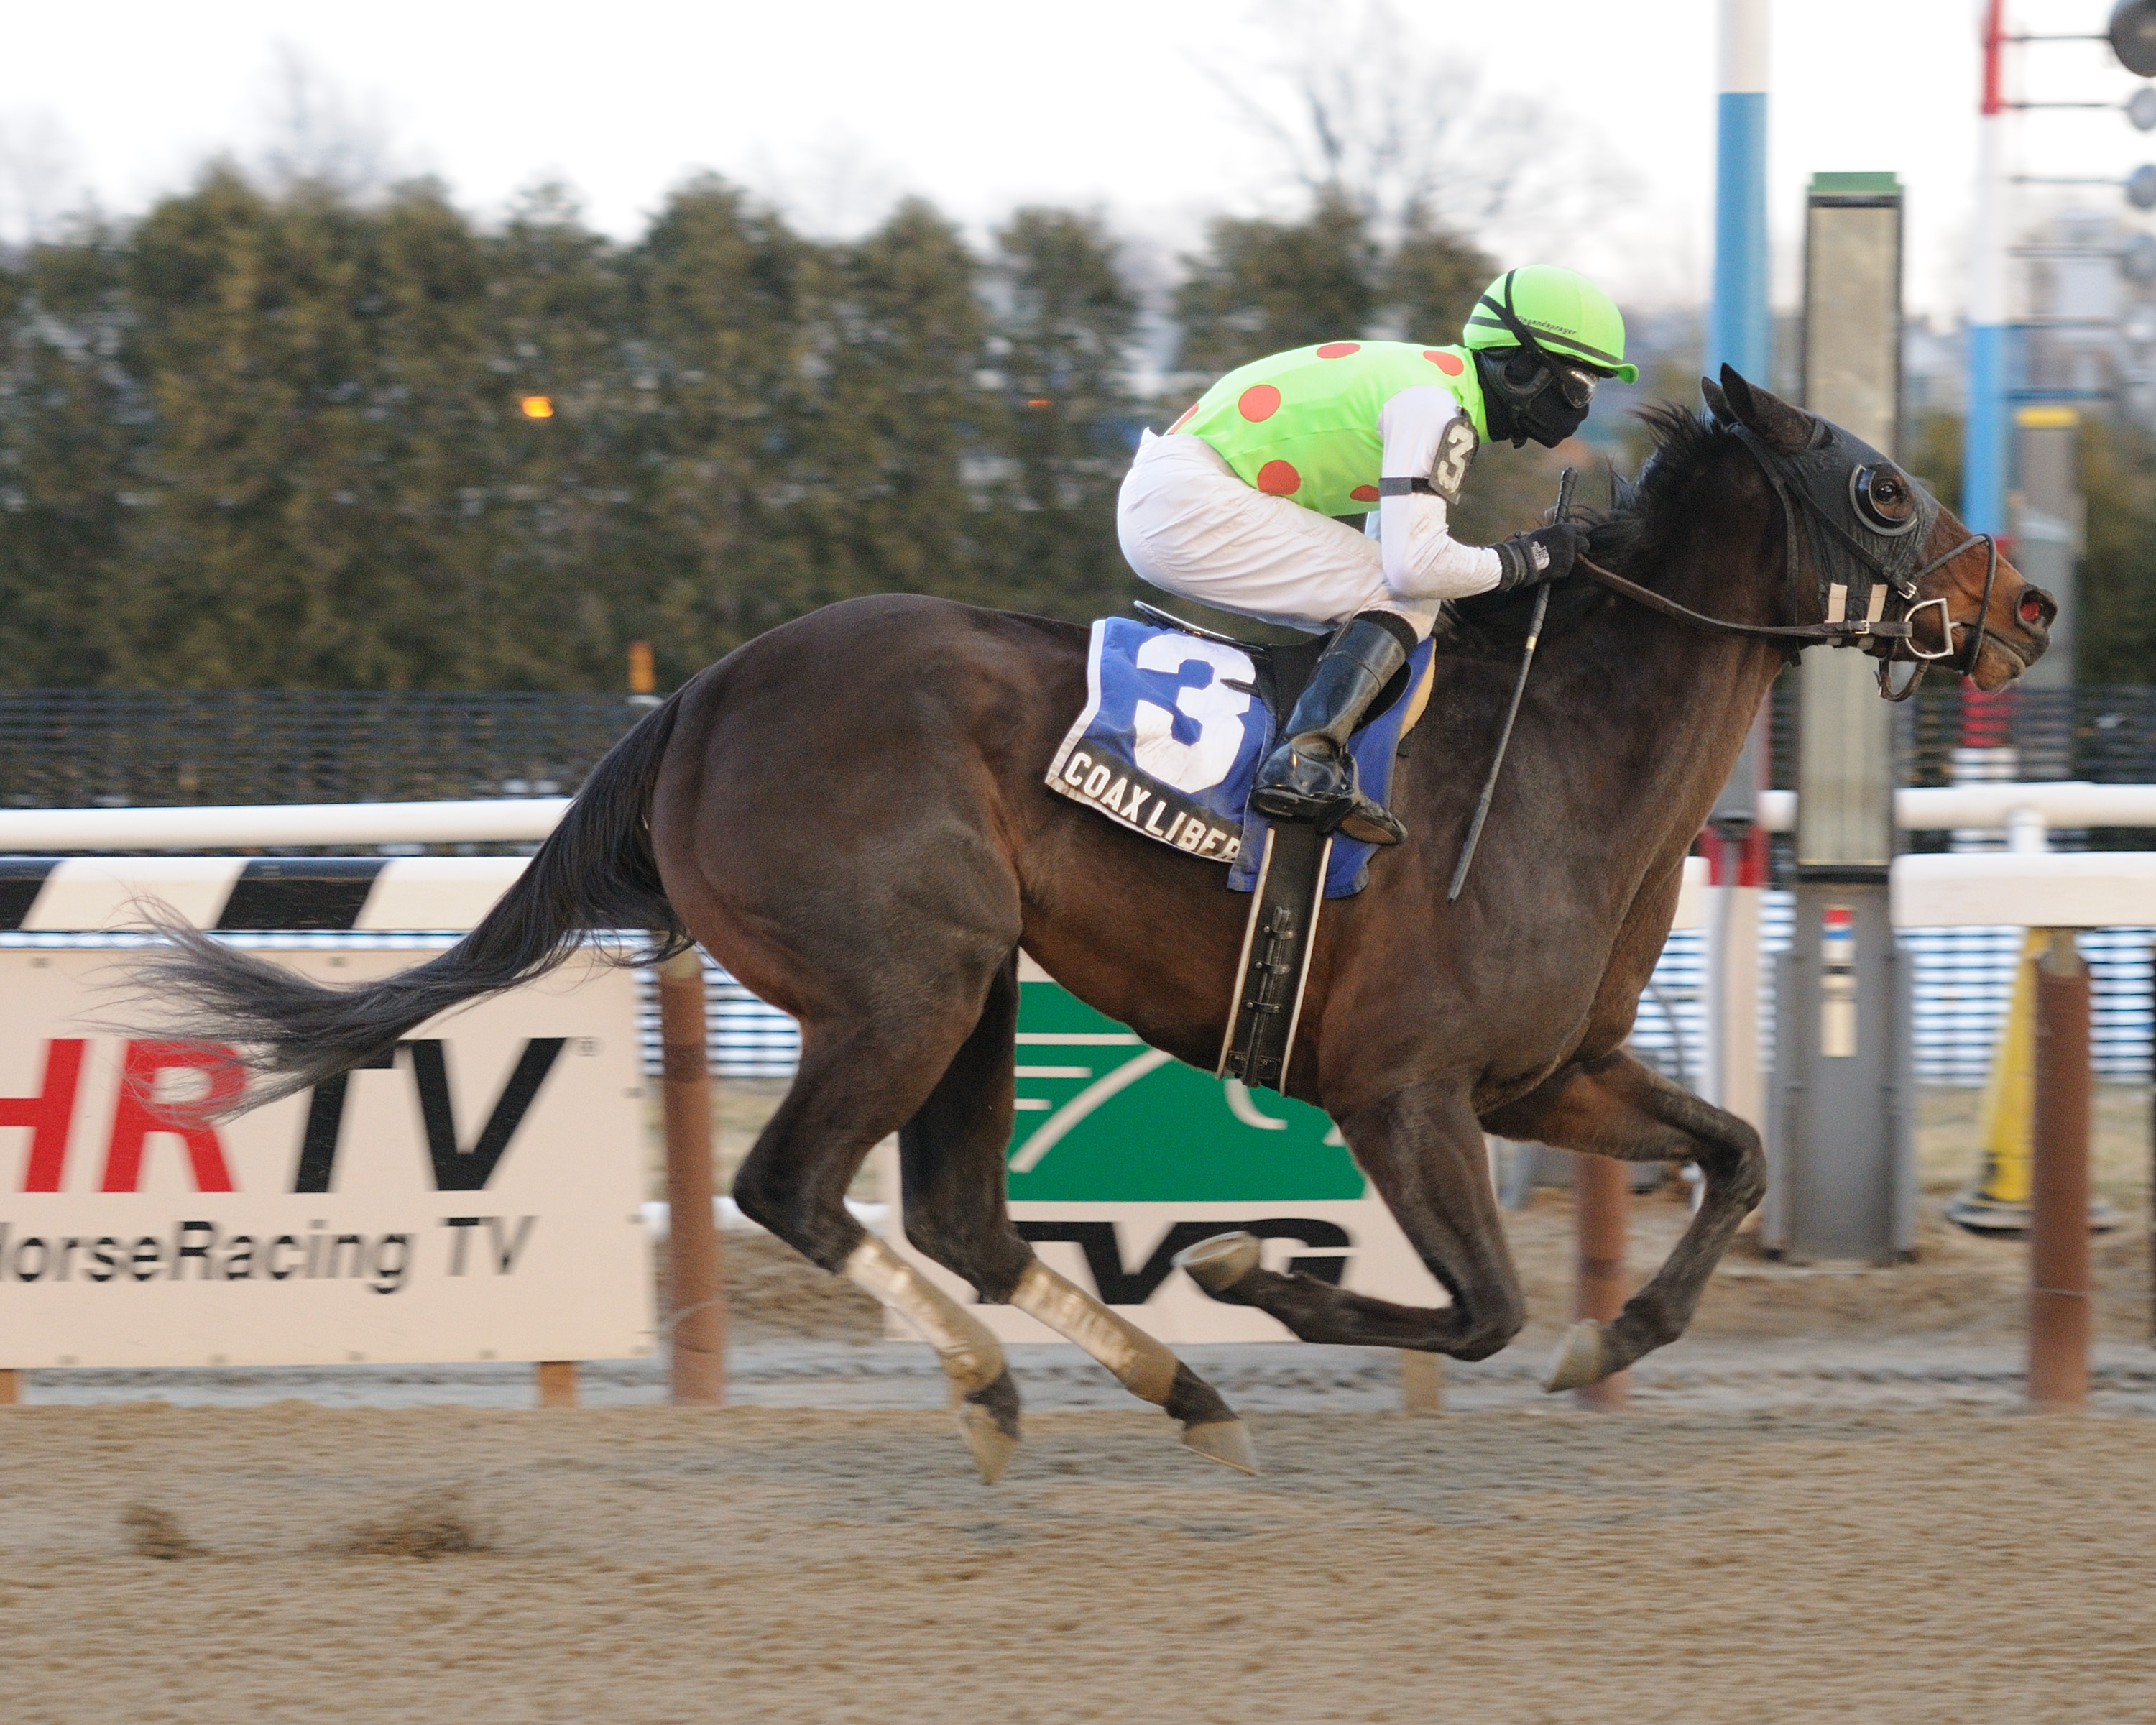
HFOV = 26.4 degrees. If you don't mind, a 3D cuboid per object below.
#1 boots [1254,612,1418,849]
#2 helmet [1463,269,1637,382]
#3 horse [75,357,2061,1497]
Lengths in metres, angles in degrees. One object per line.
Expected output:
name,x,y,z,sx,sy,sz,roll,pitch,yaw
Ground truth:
boots,0.566,-0.298,10.100,0.345,0.505,0.216,1,-1,2
helmet,1.078,-1.225,10.446,0.436,0.172,0.284,9,7,9
horse,0.314,0.121,10.380,3.708,2.471,0.823,1,-1,-9
